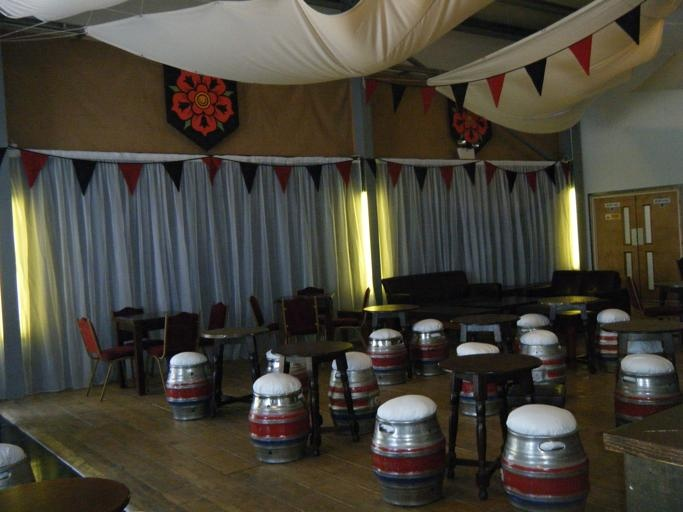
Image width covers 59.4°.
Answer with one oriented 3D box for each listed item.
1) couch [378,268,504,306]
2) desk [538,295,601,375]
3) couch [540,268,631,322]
[{"bbox_3d":[1.544,0.493,9.384,1.983,0.533,0.822,-9,9,-31],"label":"couch"},{"bbox_3d":[2.586,0.880,6.896,0.779,0.891,0.728,-3,-2,-36],"label":"desk"},{"bbox_3d":[3.631,0.651,9.012,1.127,0.720,0.619,2,13,29],"label":"couch"}]
